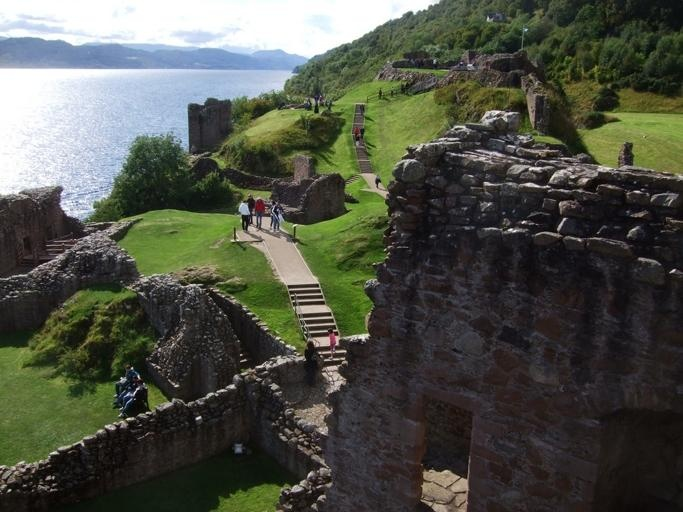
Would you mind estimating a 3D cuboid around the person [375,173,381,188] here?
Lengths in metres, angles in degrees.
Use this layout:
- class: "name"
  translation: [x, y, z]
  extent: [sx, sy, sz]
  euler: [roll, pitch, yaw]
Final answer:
- class: "person"
  translation: [2.944, -5.950, 47.684]
  extent: [0.438, 1.418, 0.424]
  euler: [-4, 9, -20]

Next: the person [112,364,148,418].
- class: "person"
  translation: [-7.572, 4.845, 21.264]
  extent: [1.133, 1.360, 1.478]
  euler: [-12, 22, -28]

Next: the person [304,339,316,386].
- class: "person"
  translation: [-1.082, 3.792, 21.213]
  extent: [0.395, 1.568, 0.500]
  euler: [12, 23, 34]
